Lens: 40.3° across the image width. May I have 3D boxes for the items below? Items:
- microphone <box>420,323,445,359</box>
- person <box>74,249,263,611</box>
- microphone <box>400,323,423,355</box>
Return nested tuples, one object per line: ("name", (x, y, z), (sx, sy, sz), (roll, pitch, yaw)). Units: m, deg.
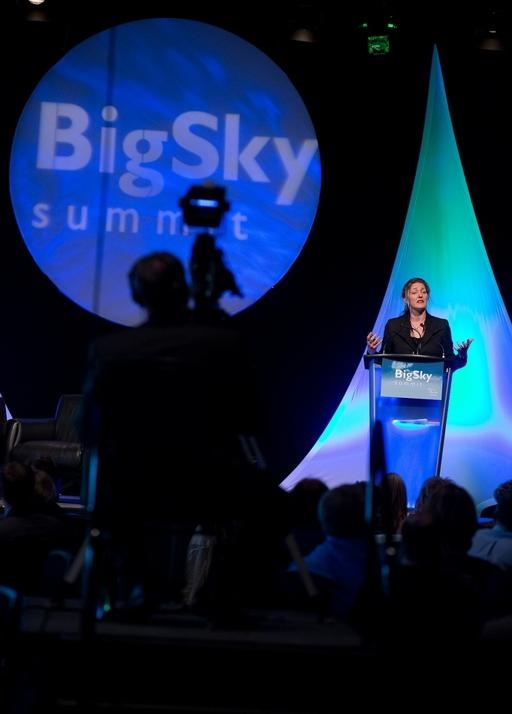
("microphone", (0.876, -0.091, 3.431), (0.132, 0.172, 0.056), (1, -15, 2))
("person", (-0.323, 0.341, 2.626), (0.618, 1.421, 0.471), (-4, 15, -16))
("microphone", (0.753, -0.083, 3.359), (0.095, 0.126, 0.199), (6, -1, 13))
